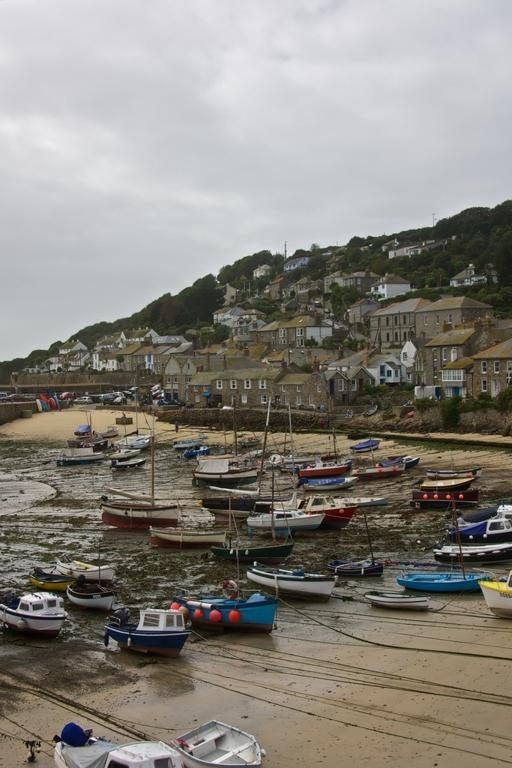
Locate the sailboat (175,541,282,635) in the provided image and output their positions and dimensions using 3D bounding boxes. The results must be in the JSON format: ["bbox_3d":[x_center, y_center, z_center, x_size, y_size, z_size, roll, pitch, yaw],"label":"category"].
[{"bbox_3d":[-0.777,5.157,20.196,1.070,1.141,2.940,1,-7,-37],"label":"sailboat"}]

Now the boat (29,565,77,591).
[{"bbox_3d":[-5.647,5.316,23.148,1.185,0.350,0.539,4,7,43],"label":"boat"}]

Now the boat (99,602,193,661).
[{"bbox_3d":[-2.313,5.306,18.321,2.118,0.954,0.531,-4,-2,33],"label":"boat"}]

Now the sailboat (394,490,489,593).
[{"bbox_3d":[5.329,4.443,23.433,2.669,1.579,5.514,-3,-2,16],"label":"sailboat"}]

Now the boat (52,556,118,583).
[{"bbox_3d":[-4.618,5.024,23.011,0.796,0.400,1.755,-2,3,-44],"label":"boat"}]
